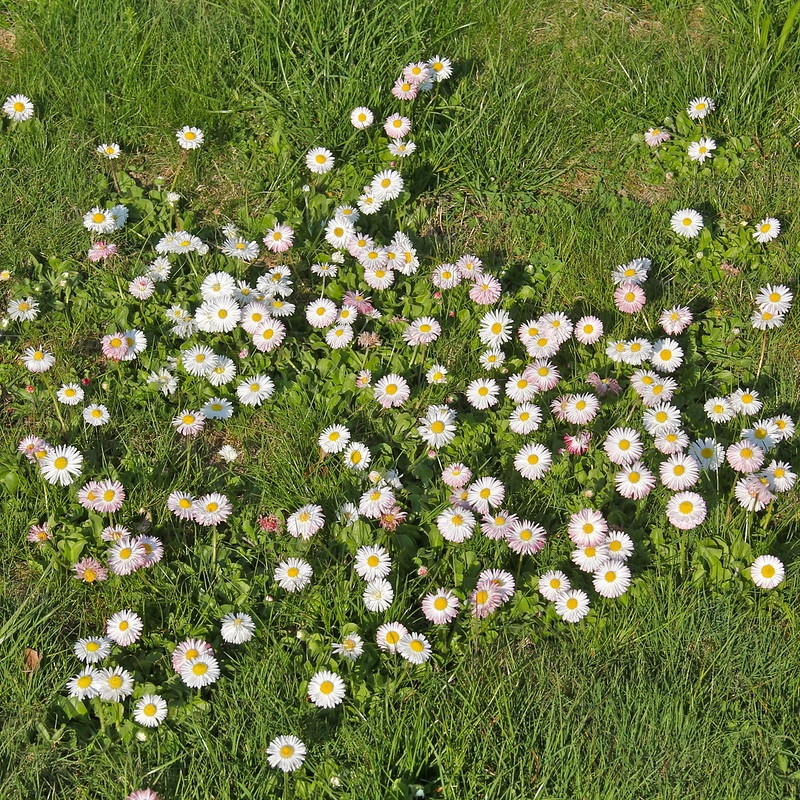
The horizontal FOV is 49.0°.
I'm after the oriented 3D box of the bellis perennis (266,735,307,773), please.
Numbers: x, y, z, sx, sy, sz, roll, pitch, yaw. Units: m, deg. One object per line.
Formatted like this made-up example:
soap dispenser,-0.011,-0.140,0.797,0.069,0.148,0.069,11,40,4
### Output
bellis perennis,-0.373,1.148,2.855,0.123,0.034,0.106,-5,82,2
